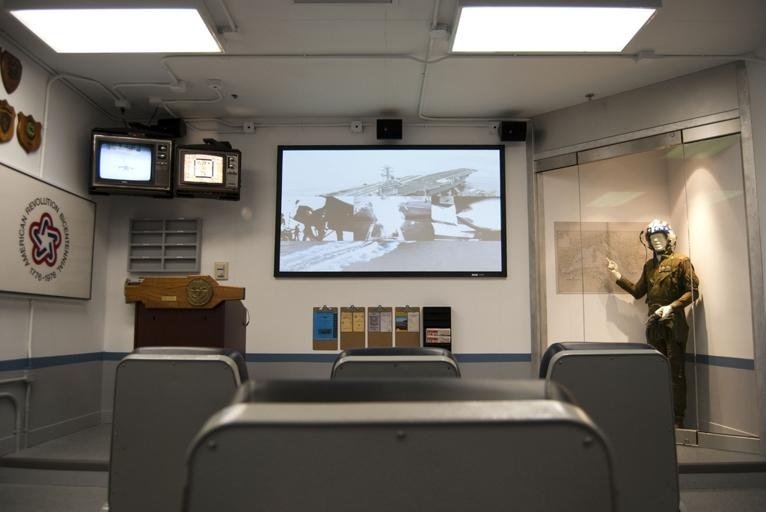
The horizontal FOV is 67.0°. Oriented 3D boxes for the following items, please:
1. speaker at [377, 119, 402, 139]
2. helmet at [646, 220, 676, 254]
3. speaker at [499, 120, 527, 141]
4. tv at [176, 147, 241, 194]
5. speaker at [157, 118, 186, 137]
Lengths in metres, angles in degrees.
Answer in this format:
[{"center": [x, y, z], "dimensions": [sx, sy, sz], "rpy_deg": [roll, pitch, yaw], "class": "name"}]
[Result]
[{"center": [0.072, -1.481, 6.722], "dimensions": [0.299, 0.226, 0.145], "rpy_deg": [-1, -2, -2], "class": "speaker"}, {"center": [2.703, -0.186, 5.840], "dimensions": [0.317, 0.326, 0.251], "rpy_deg": [7, -18, -36], "class": "helmet"}, {"center": [1.504, -1.454, 6.686], "dimensions": [0.400, 0.275, 0.212], "rpy_deg": [0, -2, 1], "class": "speaker"}, {"center": [-1.888, -0.944, 6.304], "dimensions": [0.559, 0.508, 0.539], "rpy_deg": [1, 2, -9], "class": "tv"}, {"center": [-2.432, -1.484, 6.744], "dimensions": [0.372, 0.252, 0.258], "rpy_deg": [0, 11, -5], "class": "speaker"}]
